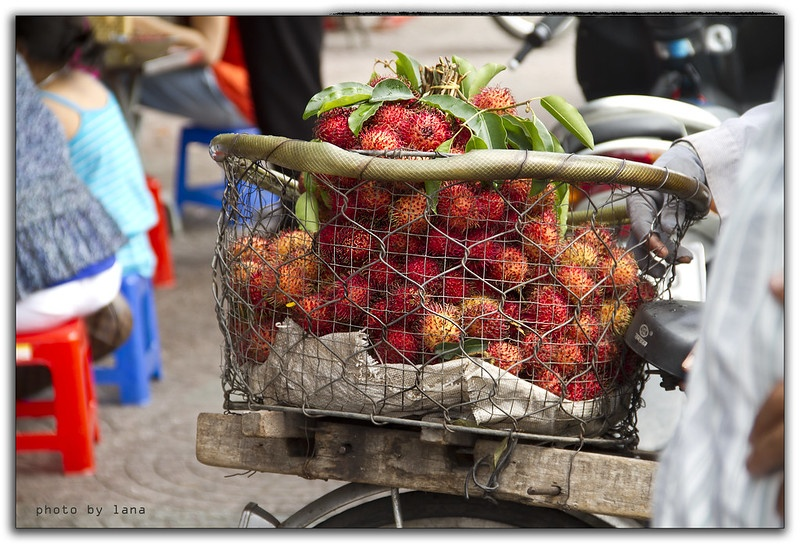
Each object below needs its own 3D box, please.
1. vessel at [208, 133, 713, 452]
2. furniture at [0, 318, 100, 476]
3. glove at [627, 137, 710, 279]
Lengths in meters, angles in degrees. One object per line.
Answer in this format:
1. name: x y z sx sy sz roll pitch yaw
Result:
1. vessel: 0.124 0.054 3.143 1.090 0.685 0.923 5 4 12
2. furniture: -1.187 0.446 4.229 0.512 0.527 0.428 0 3 0
3. glove: 0.798 -0.203 3.348 0.245 0.192 0.388 -14 46 35
